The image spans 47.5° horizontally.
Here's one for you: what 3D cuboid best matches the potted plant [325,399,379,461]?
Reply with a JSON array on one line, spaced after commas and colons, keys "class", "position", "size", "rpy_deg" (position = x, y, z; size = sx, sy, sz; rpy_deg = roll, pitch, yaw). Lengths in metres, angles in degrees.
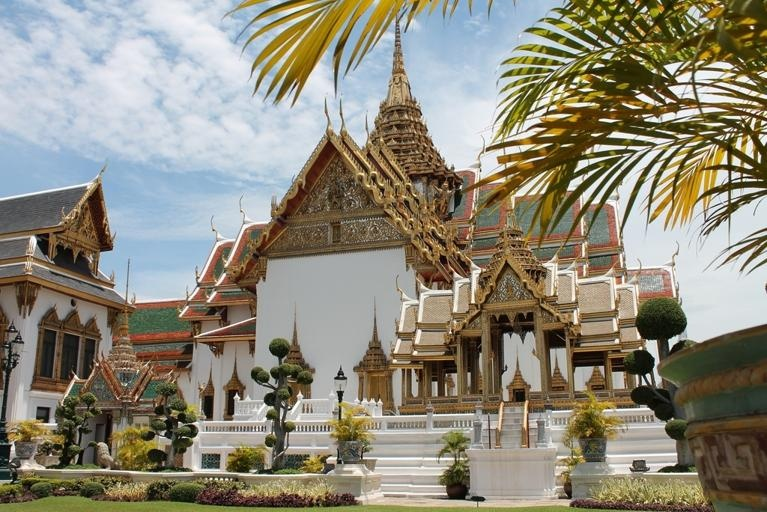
[{"class": "potted plant", "position": [-0.615, 3.518, 17.475], "size": [1.319, 1.350, 1.193], "rpy_deg": [1, -19, -2]}]
